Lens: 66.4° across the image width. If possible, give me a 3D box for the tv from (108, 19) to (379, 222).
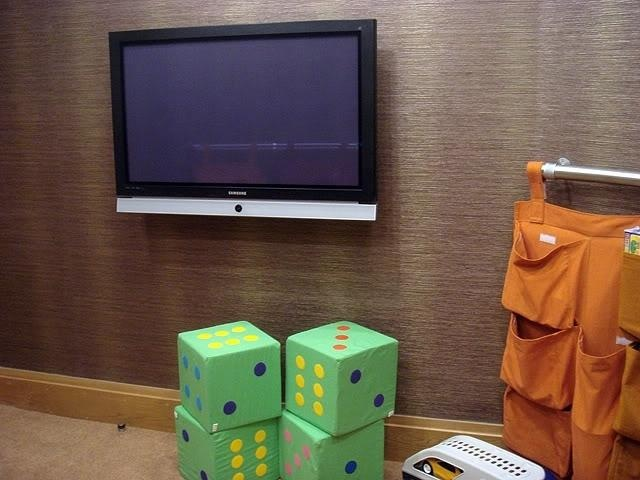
[{"bbox_3d":[-0.332,-0.597,2.367,1.192,0.705,0.108,1,6,10],"label":"tv"}]
